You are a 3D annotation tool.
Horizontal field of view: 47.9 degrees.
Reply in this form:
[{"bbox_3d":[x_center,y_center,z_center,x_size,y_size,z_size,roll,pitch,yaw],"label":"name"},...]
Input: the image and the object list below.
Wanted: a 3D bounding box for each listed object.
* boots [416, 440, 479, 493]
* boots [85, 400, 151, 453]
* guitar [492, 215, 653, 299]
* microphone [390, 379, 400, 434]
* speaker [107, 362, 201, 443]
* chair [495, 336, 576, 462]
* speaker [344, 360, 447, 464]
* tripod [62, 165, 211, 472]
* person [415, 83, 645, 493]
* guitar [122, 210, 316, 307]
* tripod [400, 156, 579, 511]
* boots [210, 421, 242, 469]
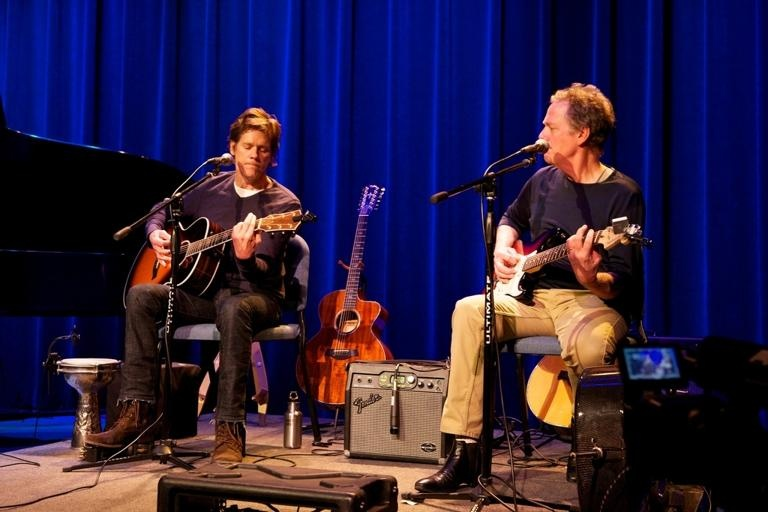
[{"bbox_3d":[0.357,1.065,4.410,0.404,0.294,0.160,2,-6,-24],"label":"boots"},{"bbox_3d":[-1.369,0.913,4.618,0.448,0.333,0.175,9,-8,-29],"label":"boots"},{"bbox_3d":[0.949,0.010,4.403,0.116,0.376,0.791,24,-26,-23],"label":"guitar"},{"bbox_3d":[0.067,0.810,4.684,0.049,0.314,0.039,1,-7,3],"label":"microphone"},{"bbox_3d":[-1.292,0.813,4.948,0.422,0.479,0.449,-1,-4,18],"label":"speaker"},{"bbox_3d":[0.835,0.790,4.938,0.390,0.597,0.437,-20,-2,-36],"label":"chair"},{"bbox_3d":[0.134,0.805,4.894,0.598,0.621,0.502,-1,-7,18],"label":"speaker"},{"bbox_3d":[-1.311,0.335,4.781,0.871,1.666,0.466,-1,-7,14],"label":"tripod"},{"bbox_3d":[0.813,0.147,4.467,1.072,2.089,1.044,3,-2,-13],"label":"person"},{"bbox_3d":[-0.927,0.034,4.989,1.097,0.572,0.157,-18,-29,32],"label":"guitar"},{"bbox_3d":[0.612,0.313,4.540,0.745,1.903,1.031,-2,-8,24],"label":"tripod"},{"bbox_3d":[-0.839,0.989,4.612,0.149,0.219,0.415,7,-1,-11],"label":"boots"}]
